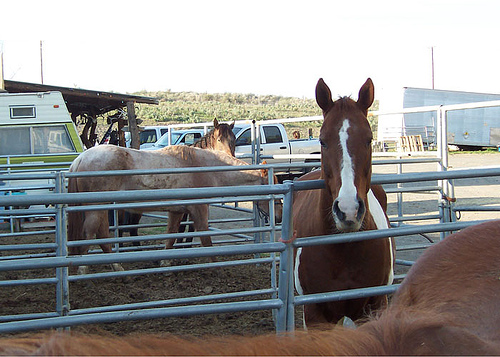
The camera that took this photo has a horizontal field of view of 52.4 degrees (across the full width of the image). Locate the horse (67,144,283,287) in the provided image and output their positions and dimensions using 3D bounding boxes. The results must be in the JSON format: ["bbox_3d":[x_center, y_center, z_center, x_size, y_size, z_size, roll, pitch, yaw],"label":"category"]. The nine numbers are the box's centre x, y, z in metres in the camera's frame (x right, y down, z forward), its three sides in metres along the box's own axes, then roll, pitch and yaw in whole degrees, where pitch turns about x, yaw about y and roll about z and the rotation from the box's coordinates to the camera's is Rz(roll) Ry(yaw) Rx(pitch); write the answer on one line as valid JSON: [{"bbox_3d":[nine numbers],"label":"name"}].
[{"bbox_3d":[-0.958,0.443,6.821,2.870,1.864,0.722,2,1,-26],"label":"horse"}]

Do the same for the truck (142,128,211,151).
[{"bbox_3d":[-2.069,-1.120,14.213,1.915,0.832,1.042,-3,4,-39],"label":"truck"}]

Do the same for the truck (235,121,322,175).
[{"bbox_3d":[0.389,-0.774,13.096,2.431,1.130,1.123,-1,0,-32],"label":"truck"}]
